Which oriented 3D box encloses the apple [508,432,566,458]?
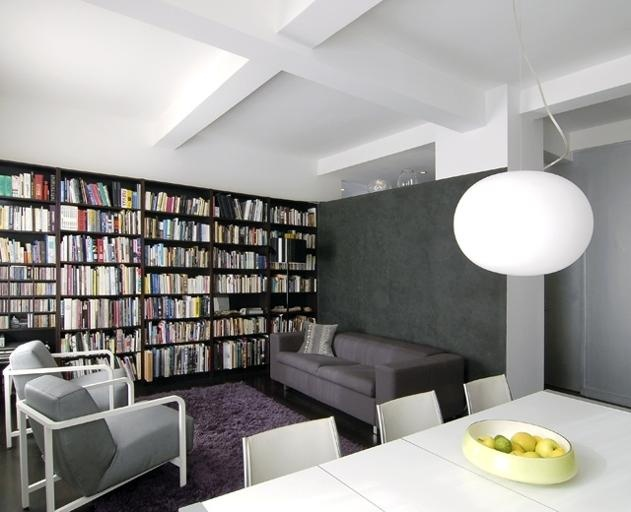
[{"bbox_3d":[1.135,0.968,2.484,0.202,0.102,0.124,1,-5,-36],"label":"apple"}]
